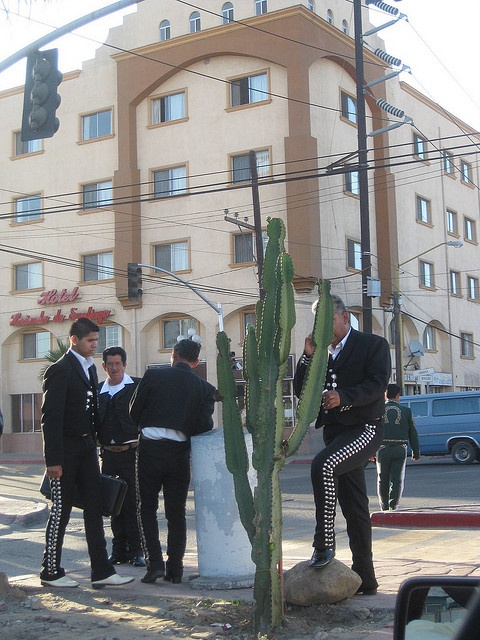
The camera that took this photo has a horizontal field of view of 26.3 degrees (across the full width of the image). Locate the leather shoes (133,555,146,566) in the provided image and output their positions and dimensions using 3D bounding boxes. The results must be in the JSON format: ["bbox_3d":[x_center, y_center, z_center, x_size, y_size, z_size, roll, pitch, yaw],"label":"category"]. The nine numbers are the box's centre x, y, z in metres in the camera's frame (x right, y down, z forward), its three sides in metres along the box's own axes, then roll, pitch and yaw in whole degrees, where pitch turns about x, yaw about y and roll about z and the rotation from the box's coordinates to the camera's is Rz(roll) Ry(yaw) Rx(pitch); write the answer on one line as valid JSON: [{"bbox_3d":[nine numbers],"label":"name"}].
[{"bbox_3d":[-0.860,2.045,8.732,0.093,0.099,0.232,3,3,-3],"label":"leather shoes"}]

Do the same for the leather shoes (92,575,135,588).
[{"bbox_3d":[-0.916,1.889,7.434,0.308,0.098,0.109,-6,-1,6],"label":"leather shoes"}]

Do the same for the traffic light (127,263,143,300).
[{"bbox_3d":[-2.781,-1.008,27.070,0.338,0.982,1.179,-1,-5,-7],"label":"traffic light"}]

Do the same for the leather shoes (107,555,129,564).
[{"bbox_3d":[-1.042,2.053,8.806,0.222,0.096,0.074,3,-6,3],"label":"leather shoes"}]

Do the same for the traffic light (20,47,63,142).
[{"bbox_3d":[-2.480,-2.797,12.783,0.471,1.096,0.912,-1,-5,-12],"label":"traffic light"}]

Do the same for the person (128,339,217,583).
[{"bbox_3d":[-0.518,1.071,7.972,0.655,1.830,0.531,0,-5,-24],"label":"person"}]

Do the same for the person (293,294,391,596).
[{"bbox_3d":[0.659,0.785,6.553,0.583,1.940,0.861,-4,-5,22],"label":"person"}]

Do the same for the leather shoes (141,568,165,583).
[{"bbox_3d":[-0.636,1.898,7.622,0.079,0.098,0.215,-13,-9,-37],"label":"leather shoes"}]

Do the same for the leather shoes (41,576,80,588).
[{"bbox_3d":[-1.300,1.874,7.403,0.248,0.087,0.100,-3,-9,14],"label":"leather shoes"}]

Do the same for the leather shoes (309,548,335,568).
[{"bbox_3d":[0.497,1.450,6.257,0.153,0.114,0.205,-2,-5,3],"label":"leather shoes"}]

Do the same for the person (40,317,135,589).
[{"bbox_3d":[-1.196,0.965,7.577,0.581,1.958,0.479,1,-5,-28],"label":"person"}]
